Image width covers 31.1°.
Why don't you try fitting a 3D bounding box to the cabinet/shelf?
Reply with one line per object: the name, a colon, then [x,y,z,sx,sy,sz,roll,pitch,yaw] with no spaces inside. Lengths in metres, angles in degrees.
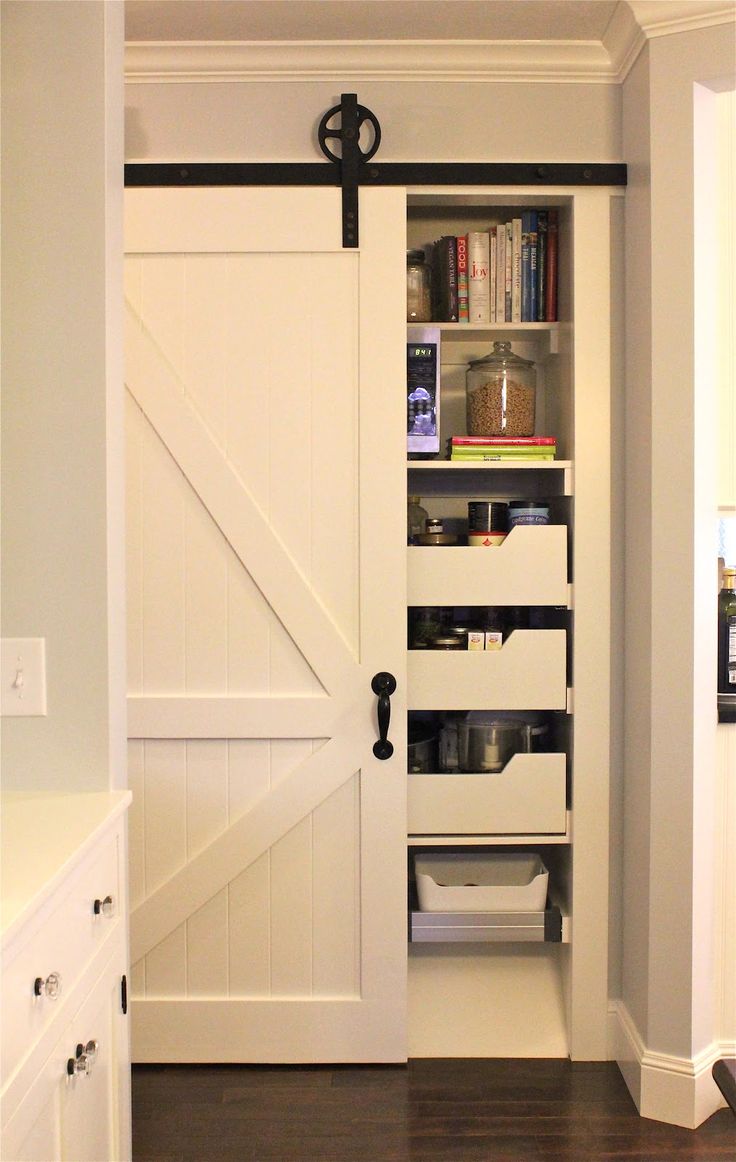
cabinet/shelf: [0.262,0.068,3.128,0.416,1.820,0.142,0,17,9]
